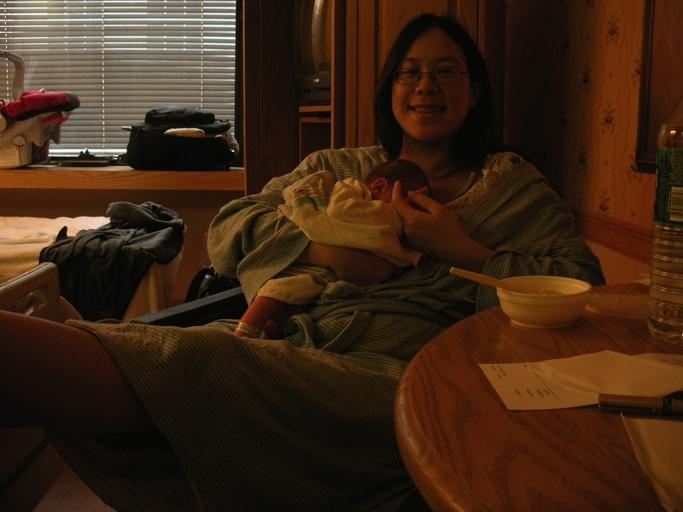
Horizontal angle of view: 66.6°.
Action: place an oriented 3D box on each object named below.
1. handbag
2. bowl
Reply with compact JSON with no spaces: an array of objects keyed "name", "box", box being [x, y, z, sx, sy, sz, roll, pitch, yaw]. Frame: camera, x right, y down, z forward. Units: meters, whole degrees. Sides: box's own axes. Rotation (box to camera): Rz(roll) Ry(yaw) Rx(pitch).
[{"name":"handbag","box":[-1.107,-0.870,3.638,0.823,0.324,0.790,-11,28,-26]},{"name":"bowl","box":[0.362,0.076,0.898,0.125,0.046,0.112,-7,9,-16]}]
